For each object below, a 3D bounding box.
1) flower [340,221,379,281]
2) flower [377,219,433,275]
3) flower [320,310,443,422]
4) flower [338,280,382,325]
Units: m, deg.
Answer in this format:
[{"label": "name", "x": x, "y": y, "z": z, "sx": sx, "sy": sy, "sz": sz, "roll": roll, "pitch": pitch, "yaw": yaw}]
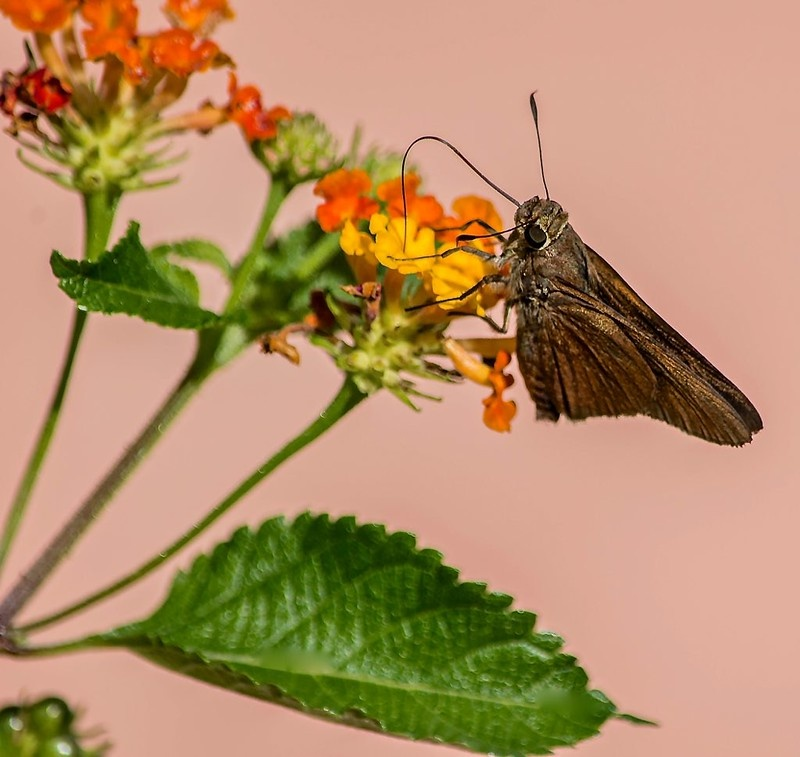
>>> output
[{"label": "flower", "x": -0.045, "y": -0.206, "z": 1.718, "sx": 0.073, "sy": 0.034, "sz": 0.089, "roll": -20, "pitch": -96, "yaw": 50}, {"label": "flower", "x": 0.007, "y": -0.213, "z": 1.668, "sx": 0.105, "sy": 0.118, "sz": 0.056, "roll": 14, "pitch": -62, "yaw": -7}, {"label": "flower", "x": -0.026, "y": -0.021, "z": 1.716, "sx": 0.144, "sy": 0.100, "sz": 0.169, "roll": -35, "pitch": -68, "yaw": 16}, {"label": "flower", "x": -0.047, "y": -0.131, "z": 1.697, "sx": 0.052, "sy": 0.029, "sz": 0.065, "roll": -37, "pitch": -68, "yaw": 17}]
